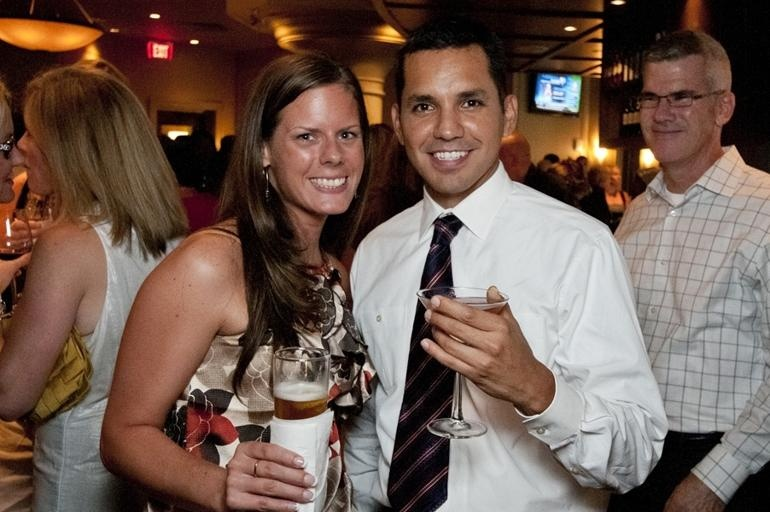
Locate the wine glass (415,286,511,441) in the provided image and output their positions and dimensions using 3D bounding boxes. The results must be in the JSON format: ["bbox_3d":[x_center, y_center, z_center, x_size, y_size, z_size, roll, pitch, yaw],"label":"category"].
[{"bbox_3d":[0.256,0.408,2.085,0.287,0.647,0.294,-8,14,-25],"label":"wine glass"}]

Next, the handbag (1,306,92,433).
[{"bbox_3d":[-1.414,0.495,2.626,0.422,0.356,0.163,-47,24,-1],"label":"handbag"}]

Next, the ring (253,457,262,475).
[{"bbox_3d":[-0.399,0.666,1.843,0.021,0.058,0.039,-9,14,-31],"label":"ring"}]

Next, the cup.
[{"bbox_3d":[-0.233,0.377,1.851,0.193,0.229,0.197,-1,6,0],"label":"cup"}]
